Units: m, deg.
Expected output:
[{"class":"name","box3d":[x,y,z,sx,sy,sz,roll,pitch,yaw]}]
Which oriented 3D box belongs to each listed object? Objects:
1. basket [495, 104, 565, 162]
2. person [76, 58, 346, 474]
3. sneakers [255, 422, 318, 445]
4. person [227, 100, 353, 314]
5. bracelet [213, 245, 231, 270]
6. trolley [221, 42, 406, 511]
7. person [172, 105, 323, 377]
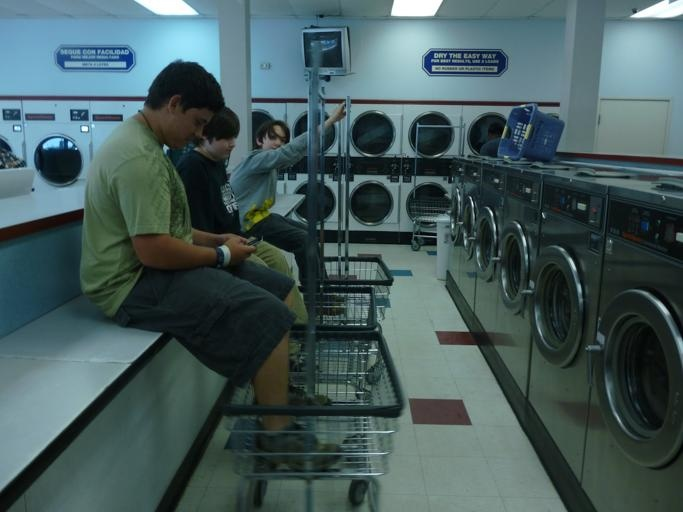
[{"class":"basket","box3d":[1.357,-0.877,4.161,0.394,0.446,0.517,6,10,-10]},{"class":"person","box3d":[-0.540,0.018,2.413,0.981,1.585,0.782,1,2,-15]},{"class":"sneakers","box3d":[-0.183,0.585,1.838,0.134,0.072,0.092,1,0,0]},{"class":"person","box3d":[-0.455,-0.441,3.716,0.931,1.589,0.762,-6,25,-14]},{"class":"bracelet","box3d":[-0.477,0.004,2.282,0.052,0.090,0.084,3,13,2]},{"class":"trolley","box3d":[-0.116,0.158,2.184,0.686,1.930,0.963,1,14,4]},{"class":"person","box3d":[-0.498,-0.075,2.973,0.677,1.350,0.479,-3,11,-10]}]
